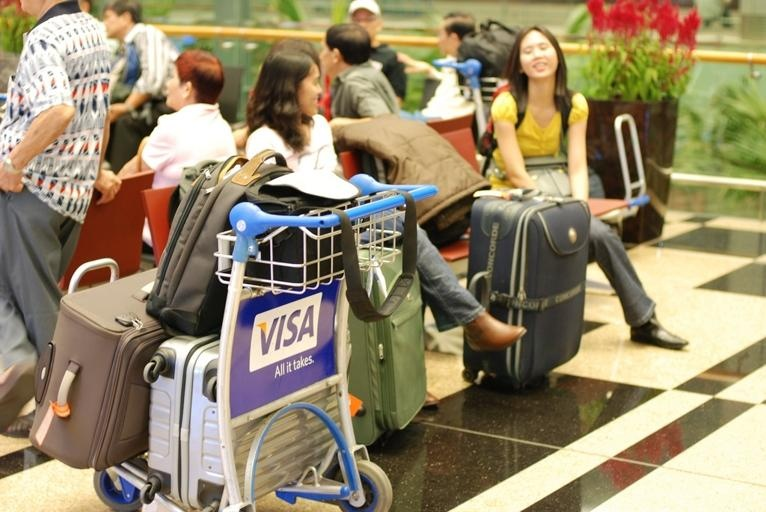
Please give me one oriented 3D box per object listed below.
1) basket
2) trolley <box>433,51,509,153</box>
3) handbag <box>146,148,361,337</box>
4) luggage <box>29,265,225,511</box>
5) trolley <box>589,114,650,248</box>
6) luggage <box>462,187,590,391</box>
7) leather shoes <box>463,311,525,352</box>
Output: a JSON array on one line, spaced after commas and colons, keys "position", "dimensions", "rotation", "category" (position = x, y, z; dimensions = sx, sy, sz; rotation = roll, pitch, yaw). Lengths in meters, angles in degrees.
[{"position": [-0.256, -0.037, 2.197], "dimensions": [0.365, 0.274, 0.533], "rotation": [4, 9, 33], "category": "basket"}, {"position": [0.618, -1.018, 4.962], "dimensions": [0.326, 0.768, 0.245], "rotation": [-10, 16, 2], "category": "trolley"}, {"position": [-0.508, -0.096, 2.586], "dimensions": [0.716, 0.718, 0.508], "rotation": [13, 15, 23], "category": "handbag"}, {"position": [-0.906, 0.438, 2.577], "dimensions": [0.520, 0.767, 0.773], "rotation": [3, -12, 37], "category": "luggage"}, {"position": [1.595, -0.596, 5.011], "dimensions": [0.421, 0.747, 0.292], "rotation": [-10, 6, -4], "category": "trolley"}, {"position": [0.679, 0.170, 3.378], "dimensions": [0.568, 1.139, 0.789], "rotation": [6, 13, 26], "category": "luggage"}, {"position": [0.519, 0.354, 3.303], "dimensions": [0.283, 0.223, 0.180], "rotation": [2, 21, 10], "category": "leather shoes"}]
